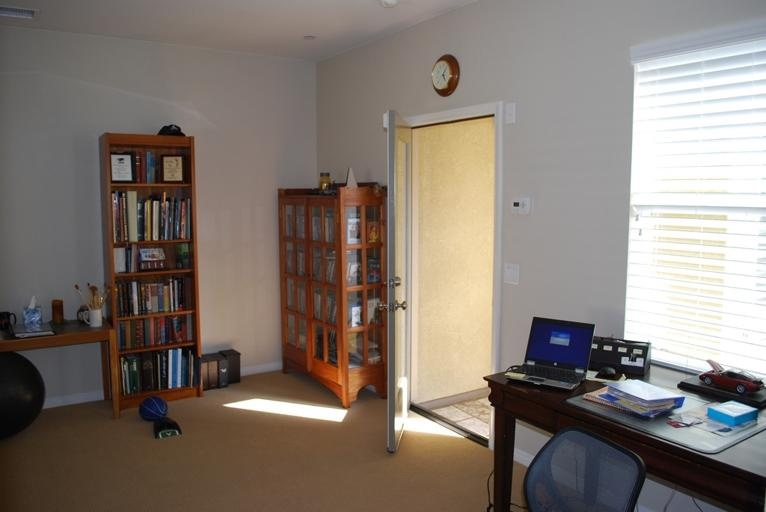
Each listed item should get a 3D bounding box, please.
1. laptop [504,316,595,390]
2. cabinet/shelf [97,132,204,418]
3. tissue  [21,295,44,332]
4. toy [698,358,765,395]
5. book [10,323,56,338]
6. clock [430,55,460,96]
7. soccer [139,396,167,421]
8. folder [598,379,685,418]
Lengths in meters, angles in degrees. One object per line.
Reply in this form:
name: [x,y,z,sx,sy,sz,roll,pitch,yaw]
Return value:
laptop: [1.168,0.653,3.753,0.463,0.334,0.481,5,13,35]
cabinet/shelf: [-2.170,0.166,5.381,0.913,2.659,0.344,0,7,1]
tissue : [-3.178,0.530,5.066,0.093,0.324,0.147,13,13,43]
toy: [2.110,0.742,3.367,0.327,0.152,0.177,10,10,42]
book: [-3.136,0.654,5.009,0.314,0.080,0.368,-3,5,-33]
clock: [0.554,-1.584,4.883,0.055,0.355,0.287,-4,5,-39]
soccer: [-2.108,1.400,5.152,0.230,0.217,0.219,9,37,-21]
folder: [1.564,0.793,3.282,0.242,0.066,0.243,-6,12,-31]
